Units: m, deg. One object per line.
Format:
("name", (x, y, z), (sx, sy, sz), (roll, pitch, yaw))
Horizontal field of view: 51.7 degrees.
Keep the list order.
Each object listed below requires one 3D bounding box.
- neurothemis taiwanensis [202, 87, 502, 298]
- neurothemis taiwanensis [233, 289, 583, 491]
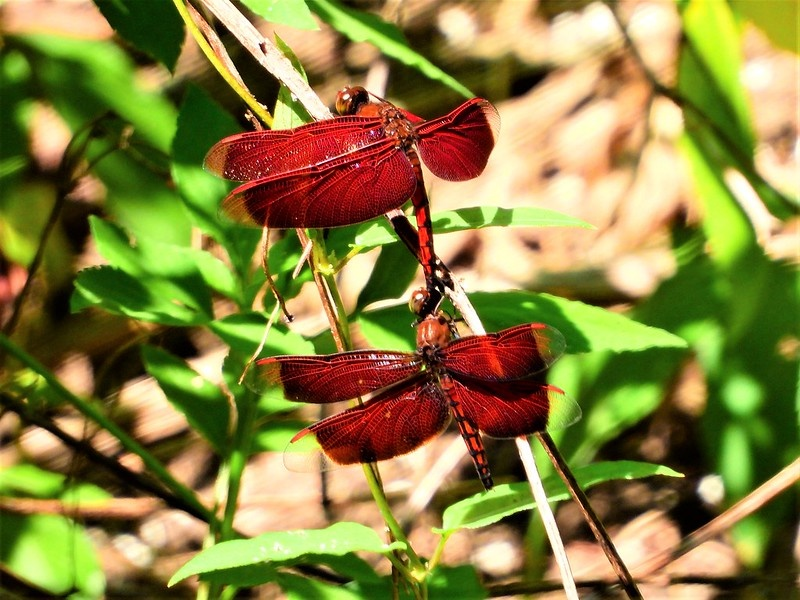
("neurothemis taiwanensis", (-0.096, -0.237, 1.433), (0.523, 0.338, 0.226), (-3, -24, -18))
("neurothemis taiwanensis", (0.046, 0.171, 1.605), (0.530, 0.374, 0.251), (-7, 6, -5))
